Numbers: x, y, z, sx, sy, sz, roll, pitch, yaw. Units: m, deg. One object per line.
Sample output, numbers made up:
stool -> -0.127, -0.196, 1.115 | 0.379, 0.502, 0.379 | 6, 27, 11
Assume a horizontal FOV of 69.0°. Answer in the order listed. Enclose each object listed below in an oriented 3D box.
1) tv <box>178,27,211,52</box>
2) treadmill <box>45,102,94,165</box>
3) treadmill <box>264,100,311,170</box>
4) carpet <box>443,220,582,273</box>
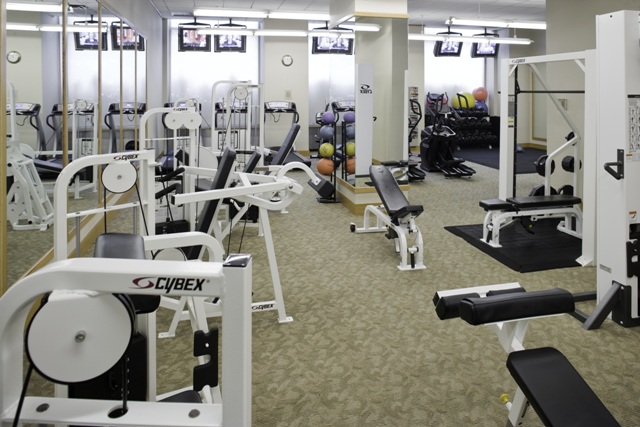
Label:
tv -> -3.134, -4.297, 11.431 | 0.865, 0.609, 0.115 | 1, 9, -8
treadmill -> -2.854, -0.891, 5.422 | 0.446, 0.820, 0.462 | -1, 12, -14
treadmill -> -0.693, -1.608, 9.445 | 0.951, 1.341, 6.374 | -3, 13, -6
carpet -> 2.651, 0.229, 5.845 | 1.560, 0.352, 1.697 | -4, 13, -11
